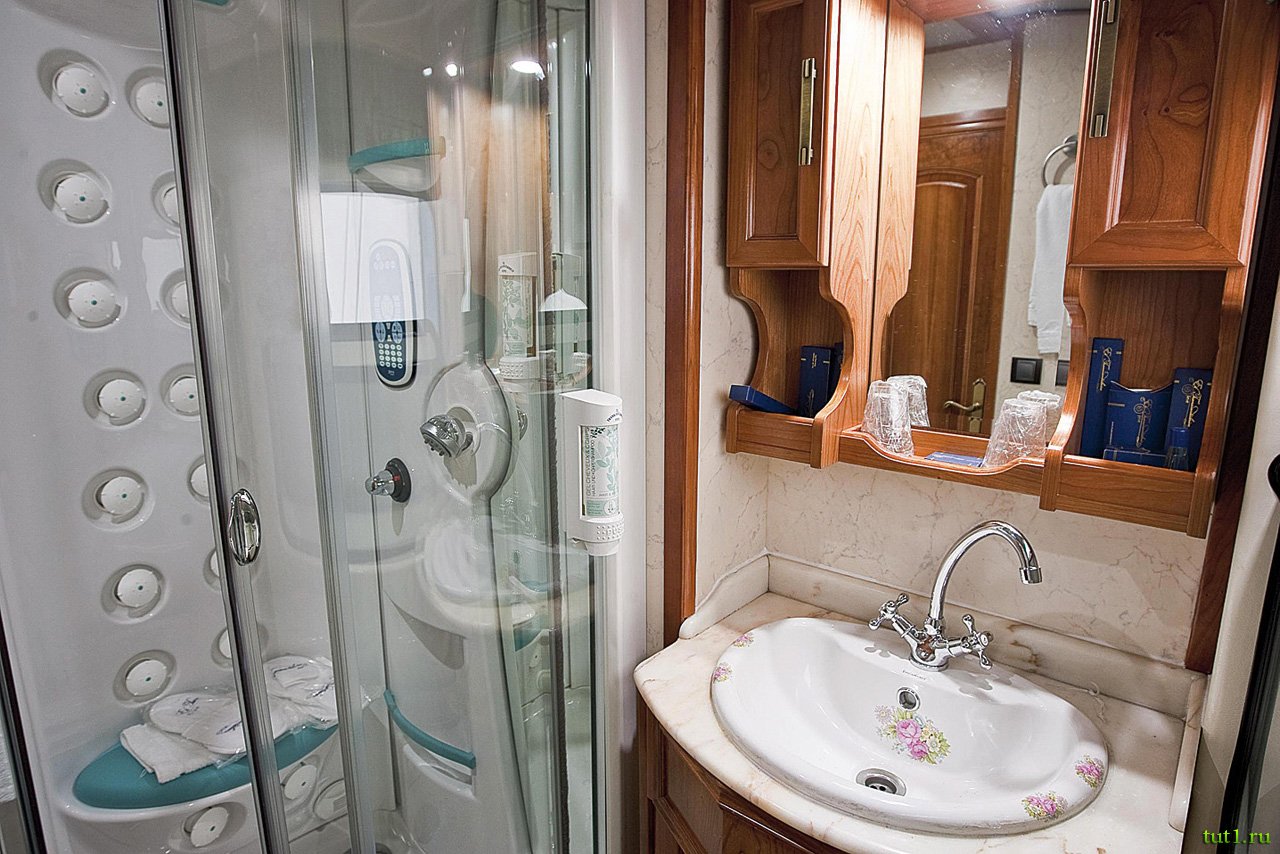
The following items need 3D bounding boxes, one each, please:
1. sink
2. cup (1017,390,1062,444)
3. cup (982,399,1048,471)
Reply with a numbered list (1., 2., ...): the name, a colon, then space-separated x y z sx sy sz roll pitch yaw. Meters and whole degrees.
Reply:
1. sink: 0.525 0.629 1.781 0.763 0.253 0.480 6 13 31
2. cup: 0.873 -0.020 1.858 0.078 0.106 0.041 -8 -17 23
3. cup: 0.812 0.002 1.846 0.114 0.167 0.095 10 35 24
